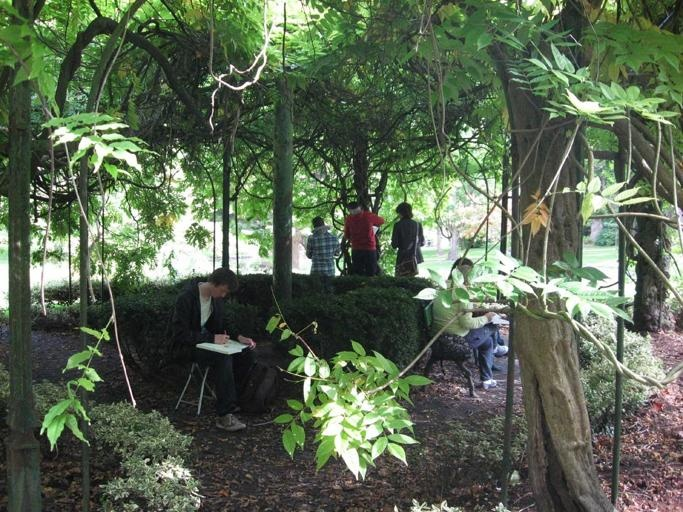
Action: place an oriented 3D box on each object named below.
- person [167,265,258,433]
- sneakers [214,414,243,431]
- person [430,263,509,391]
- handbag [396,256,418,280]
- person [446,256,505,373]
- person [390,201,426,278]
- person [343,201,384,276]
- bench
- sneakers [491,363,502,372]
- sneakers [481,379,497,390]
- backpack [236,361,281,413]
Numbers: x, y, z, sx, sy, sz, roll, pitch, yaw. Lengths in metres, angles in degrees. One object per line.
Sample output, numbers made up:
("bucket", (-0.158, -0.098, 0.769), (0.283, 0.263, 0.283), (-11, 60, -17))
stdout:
("person", (-1.161, 0.823, 6.556), (0.708, 1.160, 0.570), (-1, 0, 8))
("sneakers", (-0.984, 1.457, 6.280), (0.230, 0.112, 0.119), (4, 5, 24))
("person", (1.265, 0.677, 7.152), (0.745, 1.448, 0.569), (-3, 10, -22))
("handbag", (0.894, 0.153, 9.820), (0.225, 0.221, 0.099), (-8, 8, 10))
("person", (1.306, 0.669, 7.164), (0.653, 1.363, 0.519), (-4, 13, -17))
("person", (0.928, -0.255, 10.047), (0.452, 0.934, 0.571), (-1, 0, 5))
("person", (0.334, -0.189, 10.082), (0.525, 1.402, 0.397), (-2, 39, 4))
("bench", (1.251, 0.841, 7.220), (0.600, 1.060, 0.600), (-7, 8, -15))
("sneakers", (1.671, 1.199, 7.765), (0.109, 0.060, 0.115), (-16, -33, 11))
("sneakers", (1.485, 1.288, 7.241), (0.065, 0.094, 0.209), (-9, -23, 21))
("backpack", (-0.788, 1.222, 6.661), (0.214, 0.416, 0.322), (4, -25, 26))
